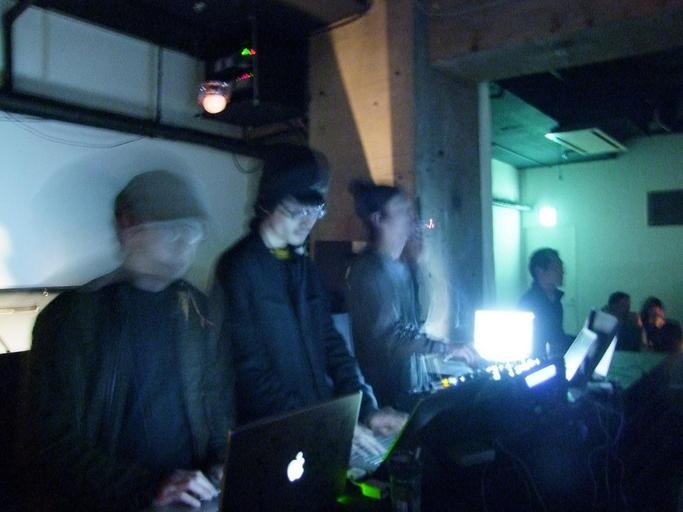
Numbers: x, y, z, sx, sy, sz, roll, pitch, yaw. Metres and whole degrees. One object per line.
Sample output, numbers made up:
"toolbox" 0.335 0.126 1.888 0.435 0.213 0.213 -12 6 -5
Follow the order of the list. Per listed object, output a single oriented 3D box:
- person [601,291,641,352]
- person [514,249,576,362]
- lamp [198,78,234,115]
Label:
"person" 2.408 0.572 5.047 0.306 0.443 0.922 0 2 24
"person" 1.489 0.317 4.239 0.385 0.733 0.472 0 2 6
"lamp" -0.777 -0.966 3.590 0.188 0.160 0.206 2 10 -7
